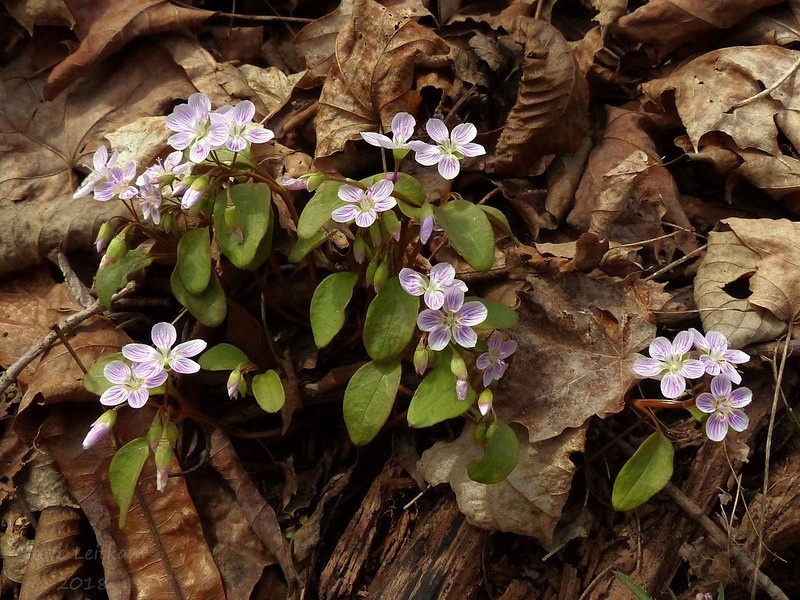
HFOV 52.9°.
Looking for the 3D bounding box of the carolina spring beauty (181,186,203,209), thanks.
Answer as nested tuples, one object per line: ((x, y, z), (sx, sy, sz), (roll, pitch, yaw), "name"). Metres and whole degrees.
((-0.947, -0.461, 3.657), (0.065, 0.044, 0.112), (23, 65, 2), "carolina spring beauty")
